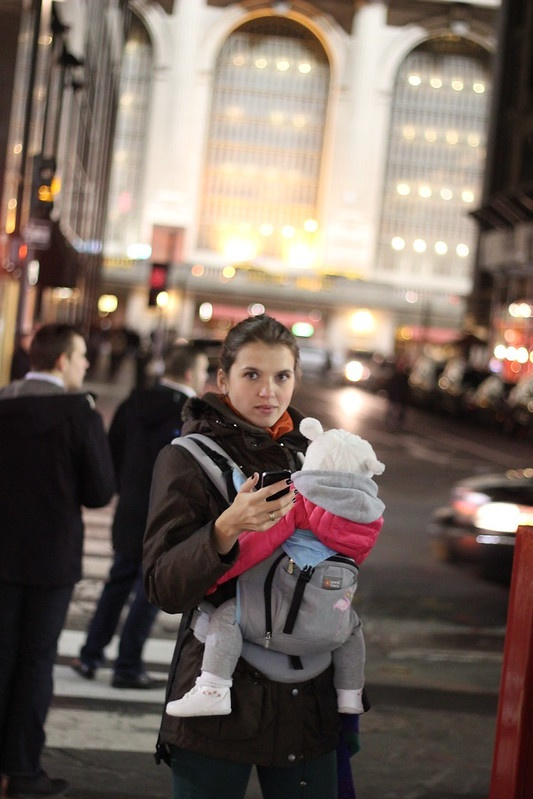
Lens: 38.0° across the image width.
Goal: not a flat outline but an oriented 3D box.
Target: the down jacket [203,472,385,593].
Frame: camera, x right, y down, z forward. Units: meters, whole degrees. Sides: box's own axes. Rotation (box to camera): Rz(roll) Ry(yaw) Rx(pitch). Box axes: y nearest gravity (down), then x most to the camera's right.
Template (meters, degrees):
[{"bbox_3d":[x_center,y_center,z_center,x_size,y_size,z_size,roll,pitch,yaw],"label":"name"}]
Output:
[{"bbox_3d":[0.054,0.292,1.688,0.357,0.131,0.249,-10,-25,22],"label":"down jacket"}]

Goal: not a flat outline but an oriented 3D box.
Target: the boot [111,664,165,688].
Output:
[{"bbox_3d":[-0.668,1.459,4.043,0.312,0.112,0.096,1,1,-16],"label":"boot"}]

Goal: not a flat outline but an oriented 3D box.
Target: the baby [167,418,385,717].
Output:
[{"bbox_3d":[0.055,0.399,1.744,0.292,0.610,0.531,0,-13,45],"label":"baby"}]

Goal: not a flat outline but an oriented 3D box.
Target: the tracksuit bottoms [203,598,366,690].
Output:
[{"bbox_3d":[0.024,0.532,1.680,0.276,0.186,0.086,11,-3,-20],"label":"tracksuit bottoms"}]

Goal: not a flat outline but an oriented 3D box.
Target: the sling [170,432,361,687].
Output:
[{"bbox_3d":[-0.019,0.362,1.958,0.715,0.498,0.454,-6,10,-42],"label":"sling"}]
